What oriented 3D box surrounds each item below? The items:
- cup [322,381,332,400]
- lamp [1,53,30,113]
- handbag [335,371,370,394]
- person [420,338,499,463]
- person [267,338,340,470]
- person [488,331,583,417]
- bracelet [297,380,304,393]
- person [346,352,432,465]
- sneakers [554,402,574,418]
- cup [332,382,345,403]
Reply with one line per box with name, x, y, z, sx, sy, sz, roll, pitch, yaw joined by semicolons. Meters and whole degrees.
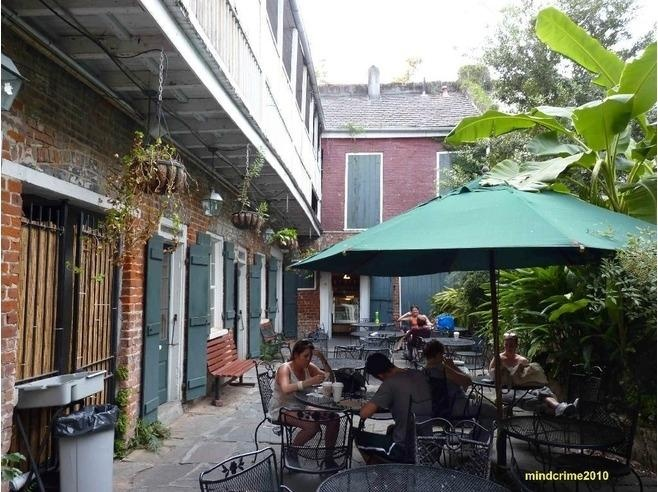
cup;-0.016;1.559;6.160;0.123;0.139;0.132;0;-5;0
lamp;-2.534;-1.301;4.547;0.151;0.419;0.174;3;-9;-32
handbag;0.266;1.659;7.105;0.283;0.247;0.293;2;-1;-7
person;1.424;1.682;6.307;0.691;1.360;0.573;-8;-5;-23
person;-0.287;1.759;6.370;0.723;1.416;0.714;-4;-7;37
person;2.444;1.551;6.956;0.563;0.874;1.369;6;-6;-12
bracelet;-0.312;1.555;6.291;0.081;0.091;0.068;-3;-7;17
person;0.670;1.912;5.956;0.800;1.543;0.849;0;-6;-3
sneakers;2.489;1.726;5.989;0.107;0.139;0.296;-1;-28;-2
cup;0.091;1.559;6.091;0.141;0.198;0.152;-1;-10;0
